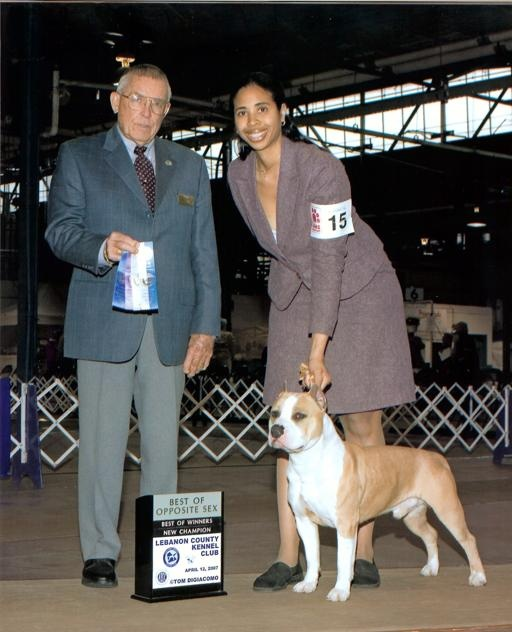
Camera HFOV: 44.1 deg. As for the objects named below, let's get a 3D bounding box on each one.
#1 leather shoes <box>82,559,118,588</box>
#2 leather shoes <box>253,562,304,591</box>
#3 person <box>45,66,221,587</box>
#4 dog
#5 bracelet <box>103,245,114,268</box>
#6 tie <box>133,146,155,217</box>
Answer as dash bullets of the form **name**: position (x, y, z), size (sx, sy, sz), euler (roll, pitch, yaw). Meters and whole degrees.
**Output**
- **leather shoes**: position (-0.551, 0.889, 2.197), size (0.146, 0.110, 0.065), euler (1, 0, 17)
- **leather shoes**: position (0.080, 0.926, 2.279), size (0.067, 0.075, 0.187), euler (-6, -8, 35)
- **person**: position (-0.425, 0.031, 2.282), size (0.637, 1.870, 0.395), euler (0, 0, -21)
- **dog**: position (0.400, 0.602, 2.136), size (0.828, 0.681, 0.311), euler (6, -8, -30)
- **bracelet**: position (-0.496, -0.196, 2.118), size (0.017, 0.058, 0.040), euler (-1, -2, 26)
- **tie**: position (-0.408, -0.514, 2.346), size (0.059, 0.289, 0.050), euler (-13, -20, -4)
